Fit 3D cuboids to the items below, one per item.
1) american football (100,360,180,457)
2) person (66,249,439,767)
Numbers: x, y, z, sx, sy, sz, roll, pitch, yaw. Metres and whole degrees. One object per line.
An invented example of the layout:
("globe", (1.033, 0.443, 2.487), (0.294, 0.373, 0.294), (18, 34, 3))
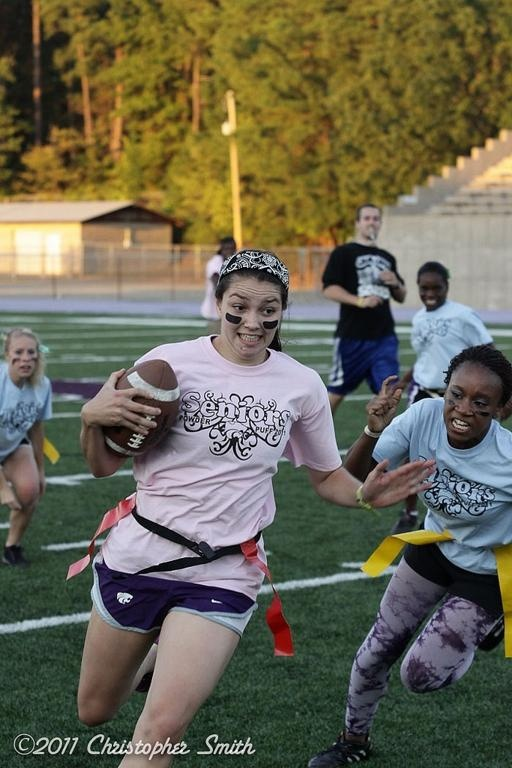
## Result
("american football", (-0.269, 0.071, 2.376), (0.197, 0.255, 0.163), (32, -9, -2))
("person", (-0.155, 0.301, 2.377), (0.520, 1.314, 0.922), (8, 11, 38))
